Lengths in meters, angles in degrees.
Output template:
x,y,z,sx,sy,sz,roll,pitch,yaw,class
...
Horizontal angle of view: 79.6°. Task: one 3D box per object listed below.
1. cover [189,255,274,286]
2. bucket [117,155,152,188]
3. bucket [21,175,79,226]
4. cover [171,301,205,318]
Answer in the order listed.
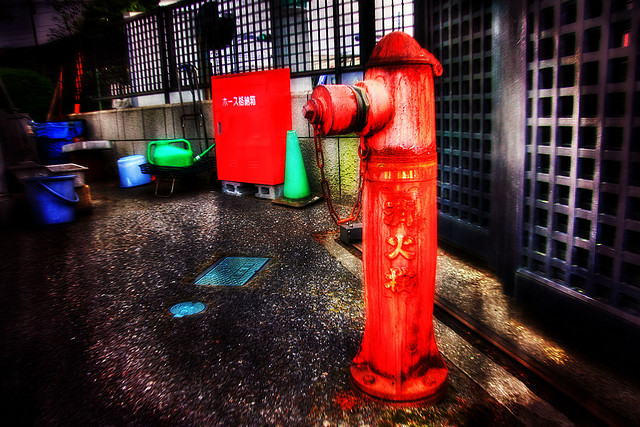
x,y,z,sx,sy,sz,roll,pitch,yaw,class
-0.897,0.587,4.028,0.624,0.071,0.655,2,15,14,cover
-3.955,-0.916,8.303,0.779,0.654,0.540,-11,13,-12,bucket
-3.826,-0.217,5.692,0.840,0.672,0.826,-1,10,0,bucket
-1.172,0.848,3.430,0.267,0.033,0.218,-8,16,-20,cover
